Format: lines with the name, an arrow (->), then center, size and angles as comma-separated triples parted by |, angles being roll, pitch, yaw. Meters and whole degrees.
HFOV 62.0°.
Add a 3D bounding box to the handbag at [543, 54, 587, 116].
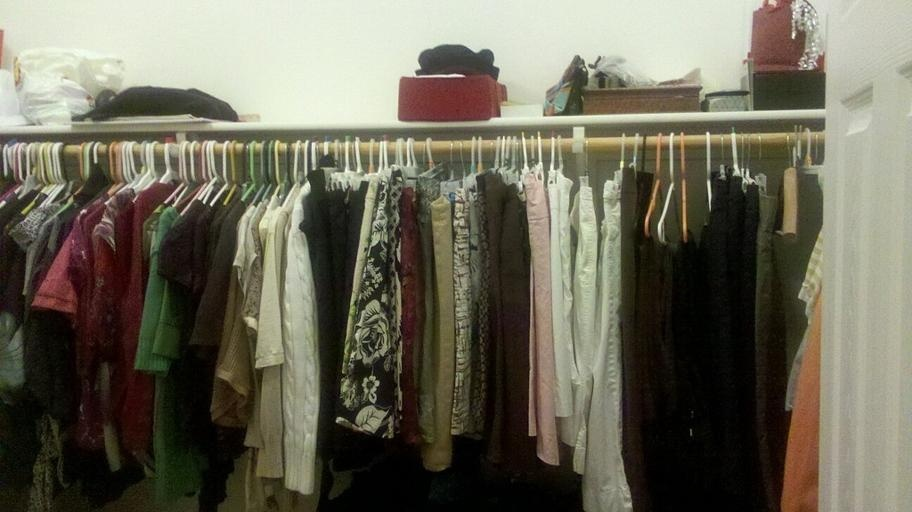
handbag -> 0.417, -0.638, 2.891 | 0.155, 0.230, 0.256 | 1, 4, 0
